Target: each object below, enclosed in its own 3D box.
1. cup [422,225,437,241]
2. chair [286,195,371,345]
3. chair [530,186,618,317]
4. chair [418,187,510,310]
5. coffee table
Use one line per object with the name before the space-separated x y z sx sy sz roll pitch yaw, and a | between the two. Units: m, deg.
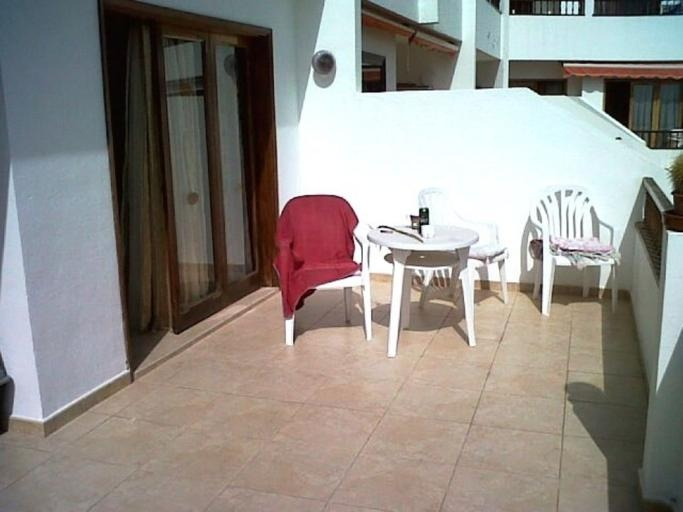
cup | 0.734 -0.193 4.307 0.102 0.103 0.110 -1 6 0
chair | -0.180 0.083 4.655 0.795 1.175 0.734 -3 13 -8
chair | 2.282 -0.065 5.123 0.805 1.234 0.898 -6 10 -25
chair | 1.245 -0.092 5.341 0.893 1.318 0.856 7 9 33
coffee table | 0.710 0.238 4.464 0.906 0.941 0.720 -4 13 -12
